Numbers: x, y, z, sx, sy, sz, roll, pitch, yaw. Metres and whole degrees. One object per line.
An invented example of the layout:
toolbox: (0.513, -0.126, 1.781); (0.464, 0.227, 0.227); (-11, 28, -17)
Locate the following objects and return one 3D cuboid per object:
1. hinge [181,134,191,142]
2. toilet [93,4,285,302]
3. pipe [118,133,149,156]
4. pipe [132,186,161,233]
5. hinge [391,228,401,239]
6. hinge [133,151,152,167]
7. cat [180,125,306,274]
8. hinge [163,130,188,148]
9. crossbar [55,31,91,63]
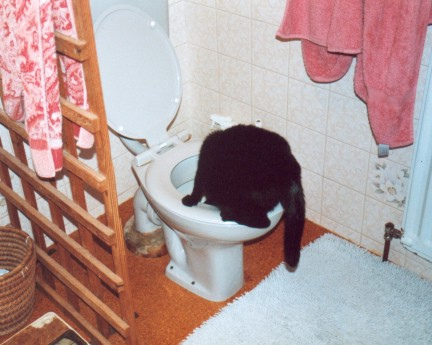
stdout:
hinge: (-0.140, -0.153, 1.798); (0.035, 0.013, 0.051); (-30, 9, -11)
toilet: (-0.098, -0.072, 1.548); (0.706, 1.078, 0.495); (29, 48, 32)
pipe: (-0.362, -0.117, 1.762); (0.114, 0.035, 0.090); (42, 21, -10)
pipe: (-0.287, 0.158, 1.674); (0.100, 0.195, 0.102); (14, 42, 20)
hinge: (0.723, 0.246, 1.597); (0.022, 0.040, 0.036); (-12, 27, -26)
hinge: (-0.302, -0.055, 1.640); (0.066, 0.020, 0.044); (-34, 82, -30)
cat: (0.051, 0.042, 1.642); (0.364, 0.731, 0.382); (12, 74, 1)
hinge: (-0.173, -0.150, 1.735); (0.051, 0.018, 0.072); (10, 44, 27)
crossbar: (-0.331, -0.288, 0.909); (0.124, 0.041, 0.028); (29, 49, 33)
